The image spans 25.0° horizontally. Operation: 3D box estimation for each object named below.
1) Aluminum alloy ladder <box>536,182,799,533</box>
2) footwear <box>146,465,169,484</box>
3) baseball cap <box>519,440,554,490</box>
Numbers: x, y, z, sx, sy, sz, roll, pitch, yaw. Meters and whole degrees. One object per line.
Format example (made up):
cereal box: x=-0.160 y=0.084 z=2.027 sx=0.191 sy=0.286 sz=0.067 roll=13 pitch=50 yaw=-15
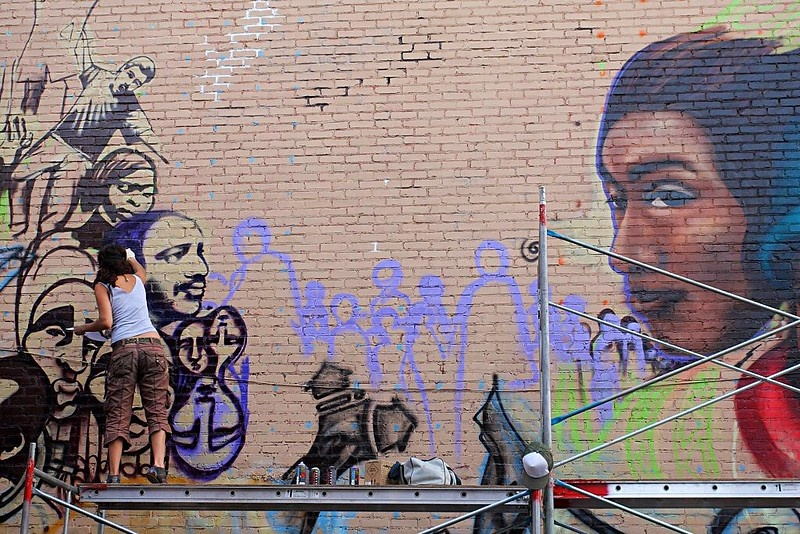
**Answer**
Aluminum alloy ladder: x=2.518 y=0.995 z=18.015 sx=2.524 sy=3.392 sz=1.693 roll=4 pitch=-11 yaw=3
footwear: x=-2.472 y=2.067 z=17.839 sx=0.186 sy=0.164 sz=0.267 roll=5 pitch=-9 yaw=-8
baseball cap: x=1.291 y=1.895 z=17.108 sx=0.298 sy=0.452 sz=0.240 roll=4 pitch=-11 yaw=-1
